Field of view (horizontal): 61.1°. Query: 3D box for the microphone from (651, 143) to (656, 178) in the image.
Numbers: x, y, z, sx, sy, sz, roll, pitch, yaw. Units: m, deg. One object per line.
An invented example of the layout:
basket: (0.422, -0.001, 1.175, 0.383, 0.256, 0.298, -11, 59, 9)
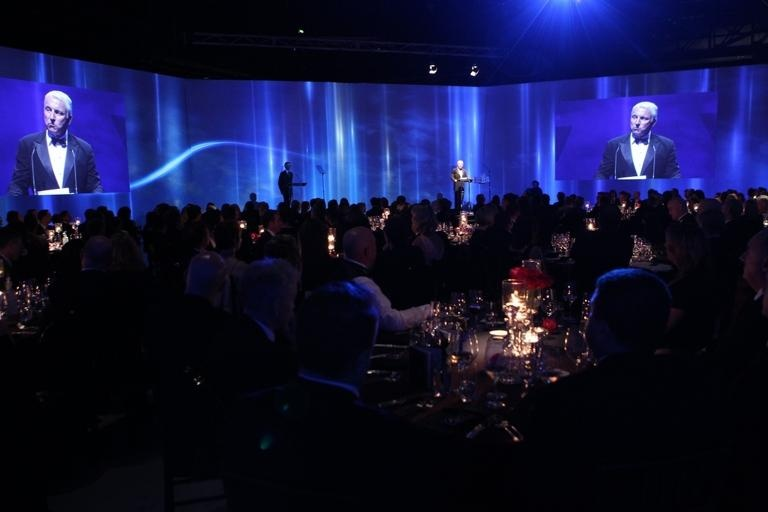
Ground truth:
microphone: (6.100, -2.153, 14.749, 0.080, 0.659, 0.069, 0, 6, 22)
